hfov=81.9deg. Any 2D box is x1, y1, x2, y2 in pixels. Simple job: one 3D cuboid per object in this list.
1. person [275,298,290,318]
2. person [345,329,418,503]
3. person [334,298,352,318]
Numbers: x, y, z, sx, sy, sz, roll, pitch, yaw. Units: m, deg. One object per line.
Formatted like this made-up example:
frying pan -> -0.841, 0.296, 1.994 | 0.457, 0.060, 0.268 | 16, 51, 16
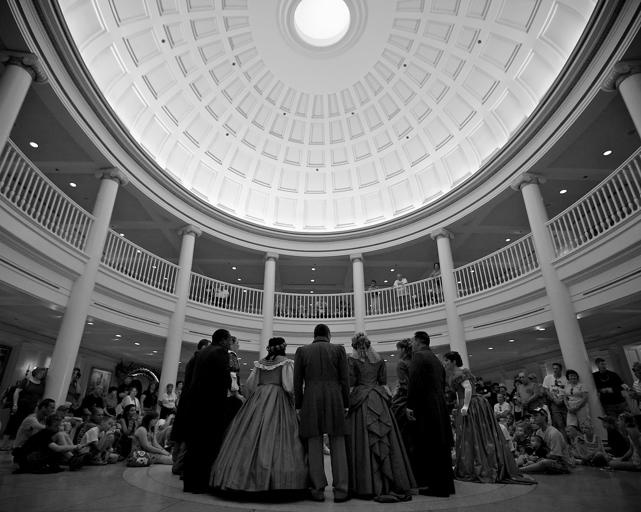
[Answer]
person -> -1.708, 2.348, 16.516 | 0.777, 0.765, 1.444 | 4, 5, -7
person -> 0.663, 1.871, 4.491 | 0.681, 1.811, 0.326 | -5, -29, 9
person -> 1.040, 2.345, 16.273 | 0.701, 0.355, 0.903 | -1, 0, -8
